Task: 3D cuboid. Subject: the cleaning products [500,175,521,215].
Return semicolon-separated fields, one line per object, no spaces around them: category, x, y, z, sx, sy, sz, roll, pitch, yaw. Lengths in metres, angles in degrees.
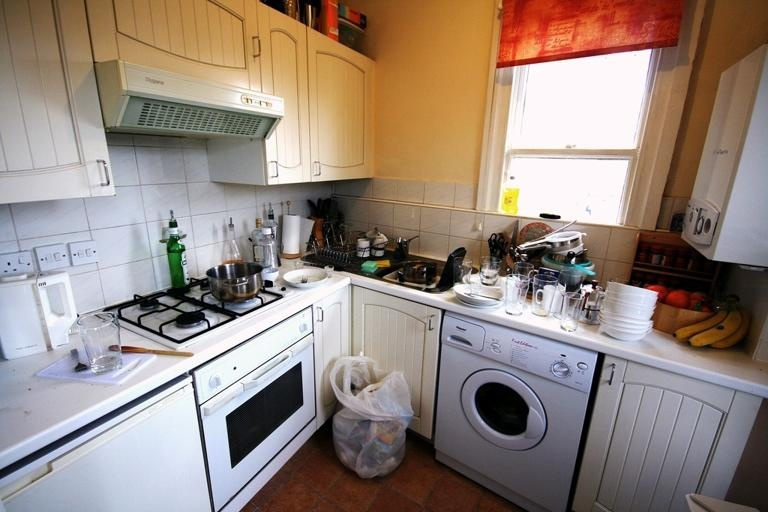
cleaning products;0.838;-0.413;3.286;0.115;0.243;0.081;1;14;8

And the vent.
vent;-0.975;-0.795;2.655;0.294;0.307;0.980;16;15;35

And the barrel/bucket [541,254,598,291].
barrel/bucket;1.069;0.072;2.816;0.224;0.123;0.221;0;5;0

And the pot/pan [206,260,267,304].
pot/pan;-0.810;0.088;2.734;0.247;0.142;0.272;-20;26;-40

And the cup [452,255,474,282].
cup;0.501;0.072;3.088;0.108;0.160;0.201;4;14;19

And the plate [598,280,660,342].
plate;1.264;0.274;2.585;0.278;0.322;0.305;8;-1;30

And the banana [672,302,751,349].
banana;1.687;0.371;2.550;0.360;0.118;0.161;-18;18;-2

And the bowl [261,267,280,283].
bowl;-0.703;0.118;3.051;0.074;0.066;0.091;-15;17;-39

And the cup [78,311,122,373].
cup;-1.346;0.413;2.343;0.160;0.244;0.186;-8;15;-28

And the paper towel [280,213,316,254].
paper towel;-0.619;-0.153;3.514;0.247;0.294;0.182;-4;14;-11

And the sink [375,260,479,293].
sink;0.259;0.129;3.120;0.314;0.084;0.317;9;18;35

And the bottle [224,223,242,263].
bottle;-0.991;-0.095;3.189;0.100;0.266;0.187;-4;14;-10

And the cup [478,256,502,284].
cup;0.662;0.082;3.083;0.117;0.137;0.257;2;13;11

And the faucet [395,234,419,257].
faucet;0.164;-0.075;3.568;0.142;0.155;0.171;4;14;20

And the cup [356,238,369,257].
cup;-0.133;-0.053;3.499;0.082;0.114;0.128;0;15;2

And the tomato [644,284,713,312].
tomato;1.583;0.190;2.643;0.269;0.101;0.144;14;23;38

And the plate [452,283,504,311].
plate;0.554;0.235;2.896;0.285;0.093;0.209;1;13;8

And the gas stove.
gas stove;-1.038;0.270;2.770;0.883;0.108;0.839;2;17;20

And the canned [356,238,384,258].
canned;-0.103;-0.058;3.451;0.112;0.115;0.189;1;8;5
